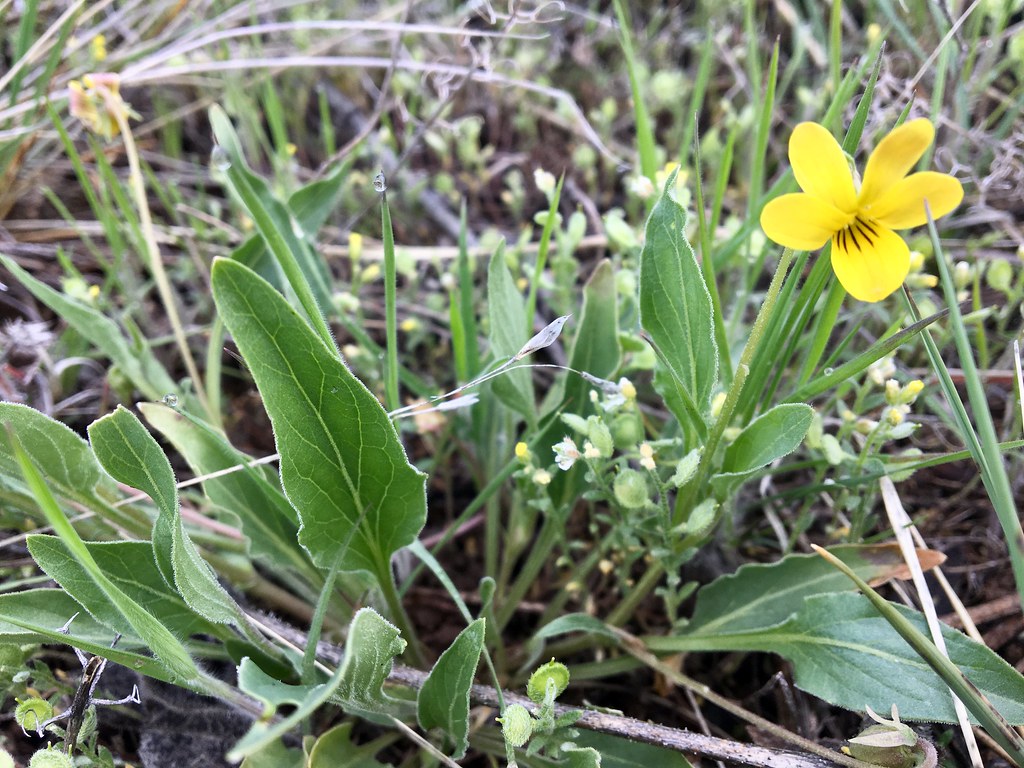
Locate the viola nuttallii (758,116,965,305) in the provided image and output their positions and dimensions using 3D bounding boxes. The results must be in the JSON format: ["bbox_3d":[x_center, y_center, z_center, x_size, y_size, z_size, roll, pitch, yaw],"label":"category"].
[{"bbox_3d":[0.554,-0.280,1.396,0.082,0.327,0.274,-37,54,-24],"label":"viola nuttallii"}]
